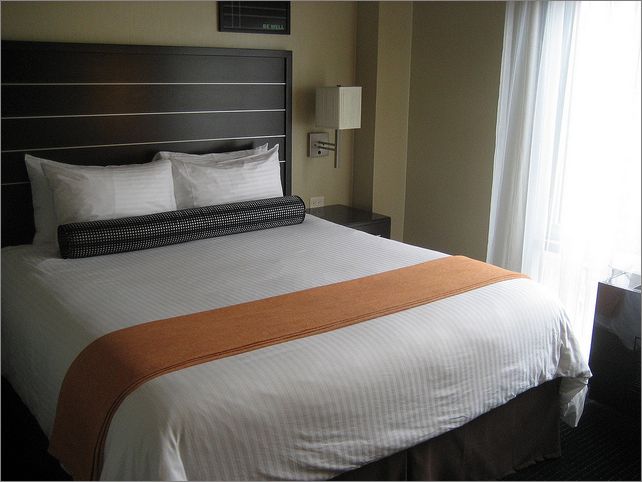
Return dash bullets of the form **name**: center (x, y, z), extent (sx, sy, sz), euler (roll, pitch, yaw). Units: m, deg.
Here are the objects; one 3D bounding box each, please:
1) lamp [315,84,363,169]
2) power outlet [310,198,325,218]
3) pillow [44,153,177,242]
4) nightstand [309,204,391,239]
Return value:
- **lamp**: center (0.116, -1.018, 4.265), extent (0.344, 0.748, 0.293), euler (19, 27, 38)
- **power outlet**: center (-0.041, -0.307, 4.408), extent (0.194, 0.213, 0.021), euler (-7, 11, -39)
- **pillow**: center (-1.369, -0.352, 3.168), extent (0.776, 0.353, 0.298), euler (-12, 21, -32)
- **nightstand**: center (0.287, -0.212, 4.287), extent (0.423, 0.354, 0.407), euler (-12, 21, -40)
